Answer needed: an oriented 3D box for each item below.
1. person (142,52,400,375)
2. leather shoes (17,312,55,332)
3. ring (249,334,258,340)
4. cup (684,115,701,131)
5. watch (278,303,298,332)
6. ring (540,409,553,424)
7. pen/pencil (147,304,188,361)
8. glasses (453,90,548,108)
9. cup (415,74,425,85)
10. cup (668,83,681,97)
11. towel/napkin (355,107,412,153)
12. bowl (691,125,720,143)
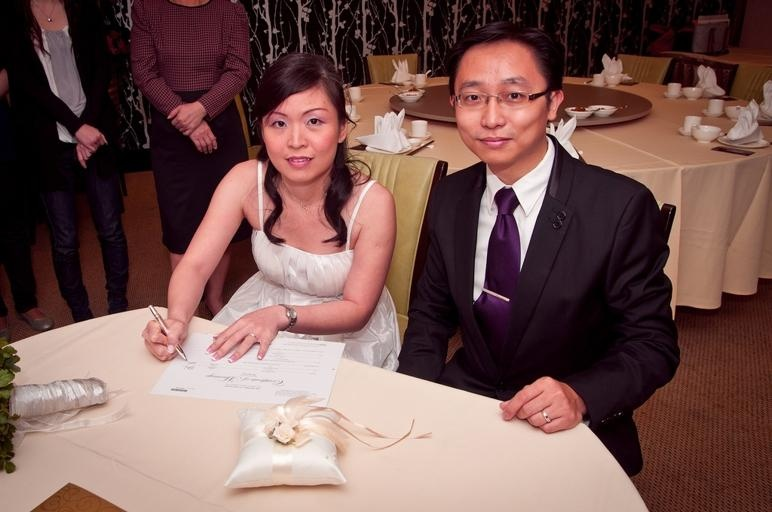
[{"bbox_3d":[-0.417,0.036,2.028,0.909,1.420,0.949,4,30,0],"label":"person"},{"bbox_3d":[-2.173,0.409,3.150,0.194,0.081,0.076,31,39,14],"label":"leather shoes"},{"bbox_3d":[-0.403,0.245,1.537,0.015,0.010,0.015,3,-25,1],"label":"ring"},{"bbox_3d":[1.735,-0.746,2.922,0.080,0.085,0.107,-2,9,8],"label":"cup"},{"bbox_3d":[-0.326,0.206,1.729,0.060,0.085,0.093,6,64,-31],"label":"watch"},{"bbox_3d":[0.405,0.408,1.291,0.019,0.027,0.029,-18,8,0],"label":"ring"},{"bbox_3d":[-0.664,0.238,1.545,0.174,0.019,0.017,51,14,8],"label":"pen/pencil"},{"bbox_3d":[0.353,-0.478,1.577,0.275,0.051,0.064,5,26,10],"label":"glasses"},{"bbox_3d":[0.295,-1.533,4.462,0.063,0.075,0.101,3,27,14],"label":"cup"},{"bbox_3d":[2.109,-1.213,3.764,0.092,0.104,0.094,-3,21,1],"label":"cup"},{"bbox_3d":[-0.005,-0.703,2.801,0.246,0.146,0.269,-21,35,-27],"label":"towel/napkin"},{"bbox_3d":[1.750,-0.660,2.780,0.104,0.058,0.107,-3,24,1],"label":"bowl"}]
